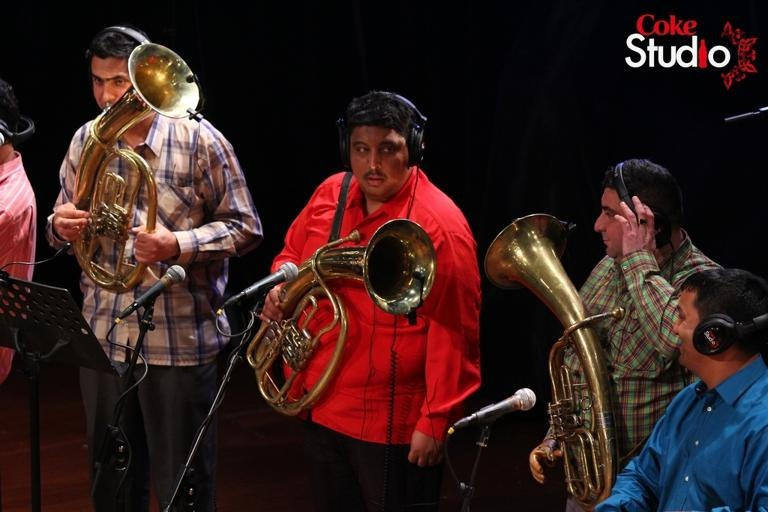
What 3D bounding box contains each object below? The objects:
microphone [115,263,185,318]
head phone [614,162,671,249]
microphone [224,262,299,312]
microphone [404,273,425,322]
[{"bbox_3d":[-0.995,0.160,2.706,0.235,0.260,0.327,8,-11,-25],"label":"microphone"},{"bbox_3d":[1.106,-0.199,2.801,0.244,0.202,0.354,4,-24,3],"label":"head phone"},{"bbox_3d":[-0.499,0.133,2.639,0.280,0.219,0.352,5,-11,-7],"label":"microphone"},{"bbox_3d":[0.127,0.166,2.559,0.058,0.199,0.092,5,-10,-13],"label":"microphone"}]
